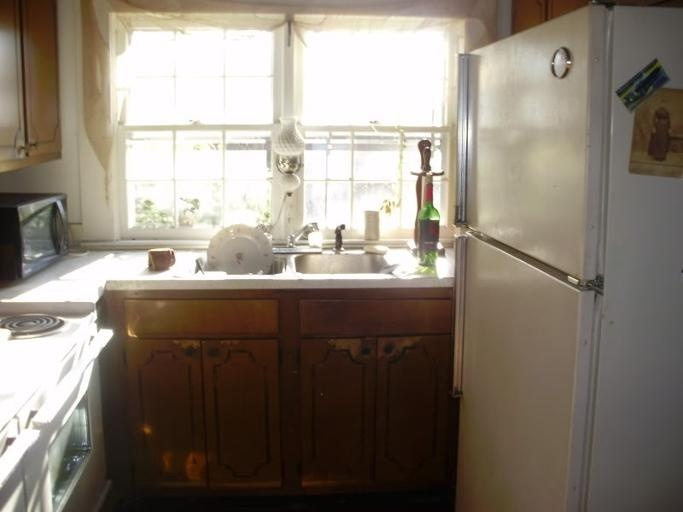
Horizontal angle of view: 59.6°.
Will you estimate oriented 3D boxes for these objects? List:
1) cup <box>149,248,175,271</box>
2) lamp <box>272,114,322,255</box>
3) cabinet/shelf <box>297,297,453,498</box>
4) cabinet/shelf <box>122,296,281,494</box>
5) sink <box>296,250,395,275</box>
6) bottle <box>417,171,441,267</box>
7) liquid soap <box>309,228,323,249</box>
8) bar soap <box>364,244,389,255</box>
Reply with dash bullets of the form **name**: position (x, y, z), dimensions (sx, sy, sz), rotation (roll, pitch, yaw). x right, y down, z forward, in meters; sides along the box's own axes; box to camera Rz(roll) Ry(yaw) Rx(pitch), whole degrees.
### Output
- **cup**: position (-0.774, 0.011, 2.535), dimensions (0.124, 0.086, 0.104), rotation (-1, 11, -1)
- **lamp**: position (-0.222, -0.360, 2.929), dimensions (0.224, 0.626, 0.287), rotation (-2, 10, -8)
- **cabinet/shelf**: position (0.118, 0.443, 2.656), dimensions (0.651, 1.004, 0.516), rotation (0, 22, -2)
- **cabinet/shelf**: position (-0.574, 0.429, 2.646), dimensions (0.669, 1.092, 0.549), rotation (1, 24, -7)
- **sink**: position (0.022, 0.032, 2.820), dimensions (0.455, 0.099, 0.185), rotation (2, 12, 16)
- **bottle**: position (0.374, -0.141, 2.575), dimensions (0.081, 0.351, 0.093), rotation (0, 9, 5)
- **liquid soap**: position (-0.127, -0.084, 2.885), dimensions (0.070, 0.107, 0.076), rotation (0, 1, 2)
- **bar soap**: position (0.151, -0.032, 2.851), dimensions (0.076, 0.037, 0.155), rotation (-11, 15, -41)
